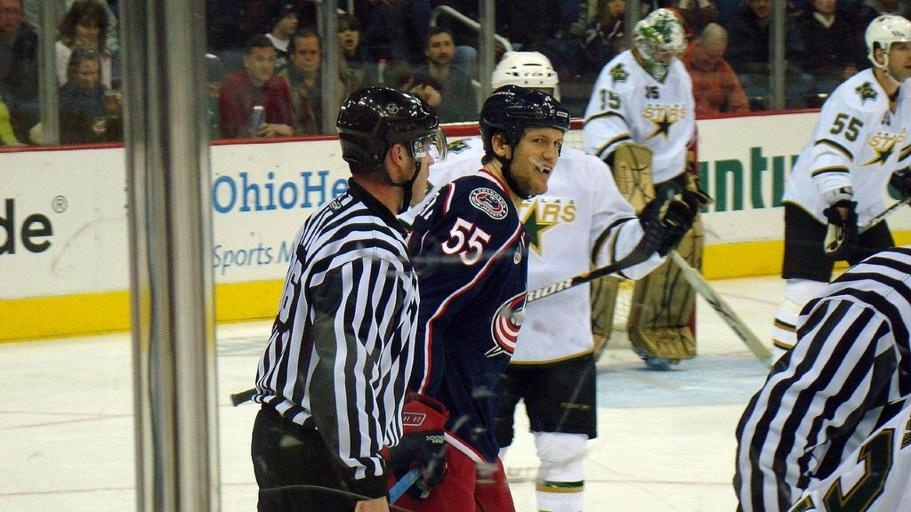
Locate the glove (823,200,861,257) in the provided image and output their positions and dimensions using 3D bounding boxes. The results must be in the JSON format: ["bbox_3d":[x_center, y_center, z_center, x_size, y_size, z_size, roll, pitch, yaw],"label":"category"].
[{"bbox_3d":[2.255,-0.156,10.421,0.083,0.294,0.228,-1,36,-43],"label":"glove"}]

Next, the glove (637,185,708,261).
[{"bbox_3d":[1.075,-0.170,9.027,0.251,0.443,0.165,44,-3,8],"label":"glove"}]

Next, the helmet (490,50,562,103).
[{"bbox_3d":[0.380,-1.010,9.962,0.333,0.325,0.380,0,-3,-12],"label":"helmet"}]

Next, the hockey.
[{"bbox_3d":[-0.019,0.336,8.549,2.747,0.325,0.362,-21,52,-22],"label":"hockey"}]

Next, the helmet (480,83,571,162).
[{"bbox_3d":[0.305,-0.672,8.655,0.475,0.355,0.348,2,3,5],"label":"helmet"}]
